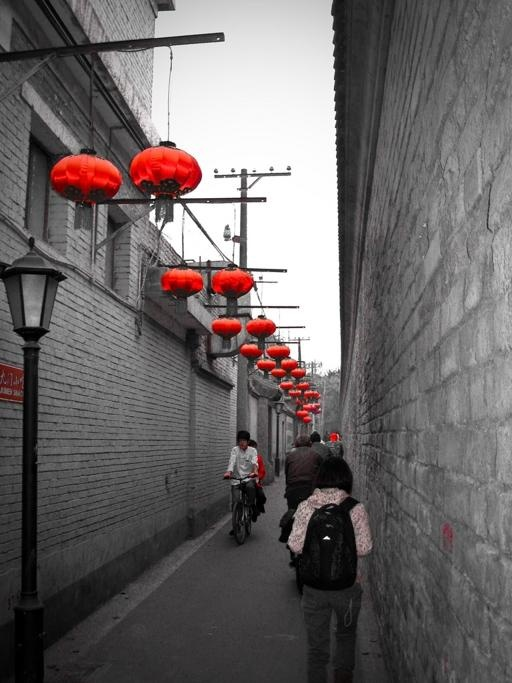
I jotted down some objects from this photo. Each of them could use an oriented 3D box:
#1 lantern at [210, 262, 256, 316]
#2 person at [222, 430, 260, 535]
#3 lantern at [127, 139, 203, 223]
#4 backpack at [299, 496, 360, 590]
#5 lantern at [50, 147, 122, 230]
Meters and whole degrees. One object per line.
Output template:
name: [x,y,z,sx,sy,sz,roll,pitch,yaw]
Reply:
lantern: [-0.366,-0.867,8.996,0.614,1.015,0.628,4,4,44]
person: [-0.305,3.000,11.274,0.685,2.125,1.497,-1,-9,-1]
lantern: [-0.819,-1.539,5.234,0.456,0.802,0.545,2,3,-15]
backpack: [0.448,1.229,3.449,0.377,0.866,0.390,-1,-8,9]
lantern: [-1.533,-1.412,4.883,0.425,0.762,0.541,8,2,9]
